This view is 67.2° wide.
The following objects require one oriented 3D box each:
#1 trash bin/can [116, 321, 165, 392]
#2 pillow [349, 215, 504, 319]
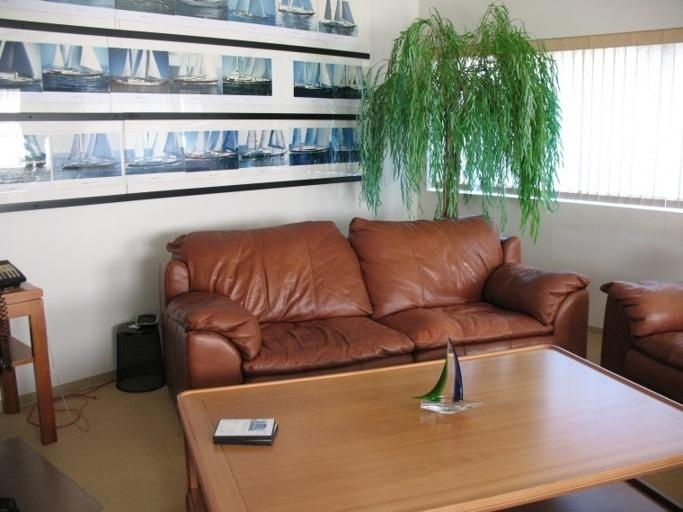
[{"bbox_3d":[-1.397,0.686,3.542,0.349,0.431,0.277,-4,12,-9],"label":"trash bin/can"},{"bbox_3d":[0.591,0.047,3.645,0.787,0.814,0.236,-7,-9,-17],"label":"pillow"}]
